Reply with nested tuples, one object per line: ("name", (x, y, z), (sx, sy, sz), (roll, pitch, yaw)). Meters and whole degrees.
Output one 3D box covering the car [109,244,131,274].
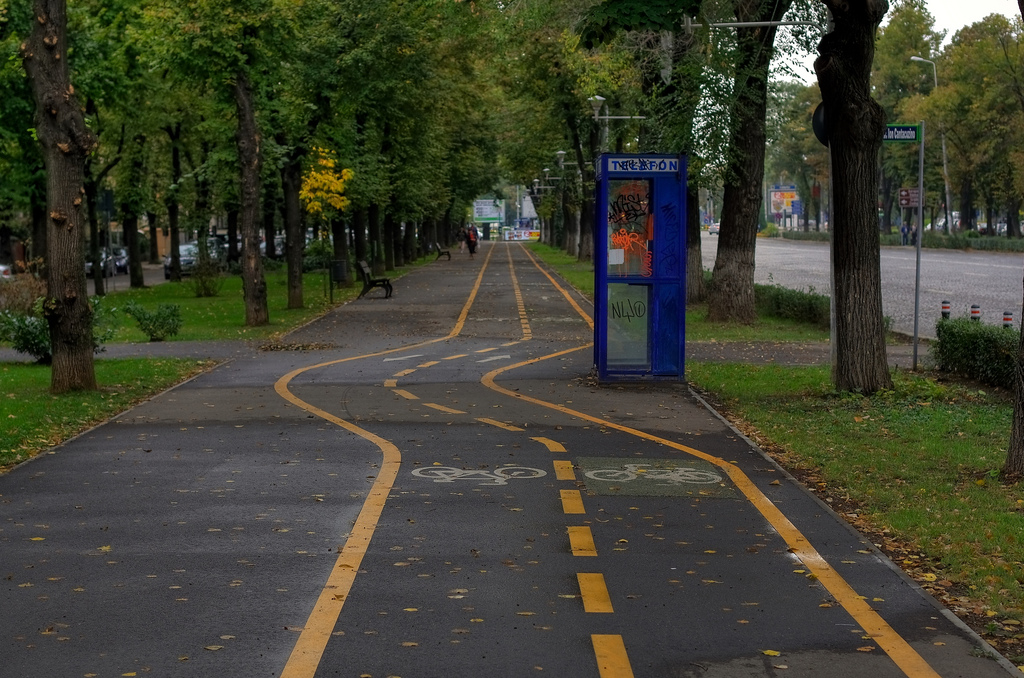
("car", (-25.688, -5.065, 76.110), (0.858, 1.520, 4.959), (-3, 10, -20))
